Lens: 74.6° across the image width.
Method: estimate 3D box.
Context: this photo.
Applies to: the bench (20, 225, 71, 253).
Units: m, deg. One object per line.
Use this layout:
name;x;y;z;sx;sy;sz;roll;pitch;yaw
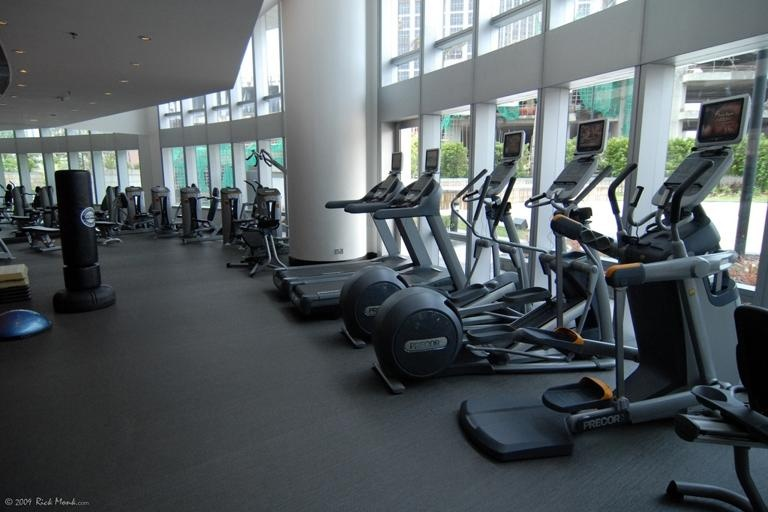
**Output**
bench;-6.358;-0.303;9.430;1.447;0.468;0.514;14;13;39
